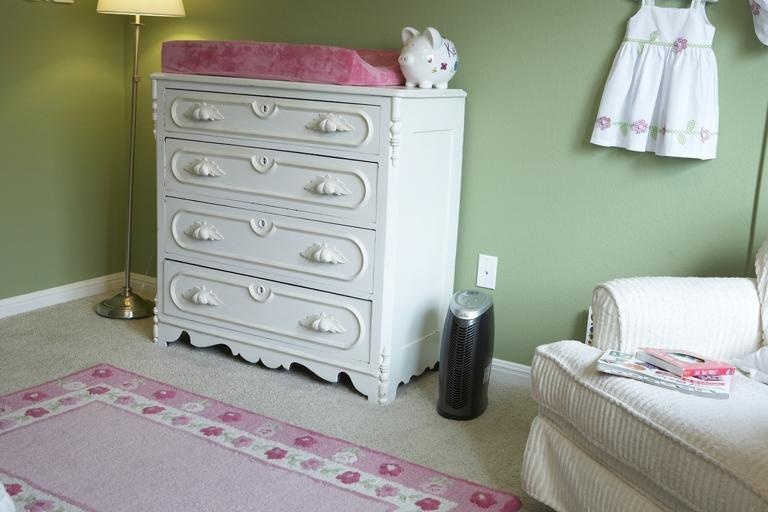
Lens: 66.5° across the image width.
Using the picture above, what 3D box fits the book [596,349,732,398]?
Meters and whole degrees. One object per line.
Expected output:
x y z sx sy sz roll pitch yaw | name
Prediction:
0.876 0.374 1.846 0.386 0.059 0.119 7 14 19 | book

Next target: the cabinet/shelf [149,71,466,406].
-0.423 -0.137 3.105 1.460 1.459 0.777 10 13 27 | cabinet/shelf
